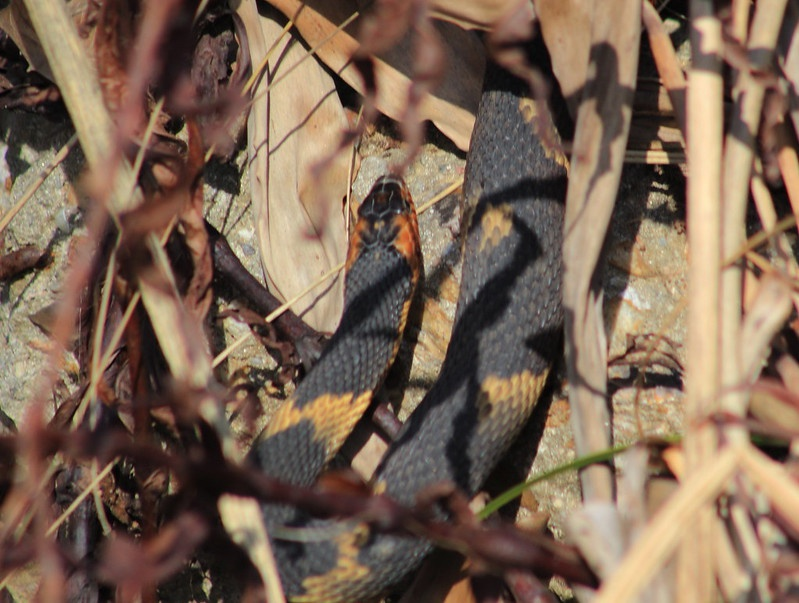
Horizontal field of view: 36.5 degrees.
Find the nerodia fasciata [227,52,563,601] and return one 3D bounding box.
[{"bbox_3d":[-0.015,0.016,2.228,0.475,0.949,0.565,2,20,-38],"label":"nerodia fasciata"}]
